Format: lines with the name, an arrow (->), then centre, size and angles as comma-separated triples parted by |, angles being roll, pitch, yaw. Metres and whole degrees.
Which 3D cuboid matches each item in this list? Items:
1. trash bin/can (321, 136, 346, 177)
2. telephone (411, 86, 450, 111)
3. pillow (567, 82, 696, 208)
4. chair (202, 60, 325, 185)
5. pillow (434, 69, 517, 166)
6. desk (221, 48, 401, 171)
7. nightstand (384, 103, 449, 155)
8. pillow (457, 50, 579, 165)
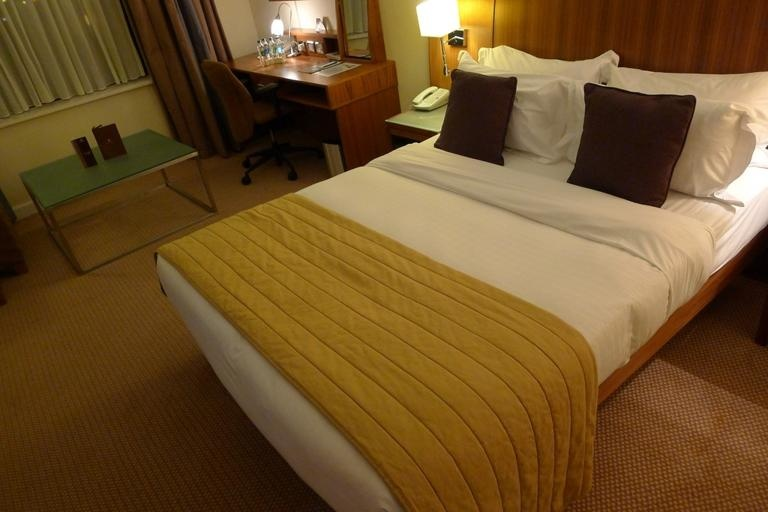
trash bin/can -> -0.556, -0.928, 4.843 | 0.304, 0.294, 0.162 | -4, 18, -24
telephone -> 0.409, -1.364, 4.399 | 0.209, 0.107, 0.269 | 22, 43, 37
pillow -> 1.447, -0.620, 2.932 | 0.295, 0.521, 0.581 | -34, 41, -30
chair -> -1.231, -1.343, 5.117 | 0.813, 1.160, 0.876 | -36, 54, -23
pillow -> 0.654, -0.914, 3.517 | 0.615, 0.600, 0.187 | 21, 15, 37
desk -> -0.589, -1.622, 5.347 | 0.797, 0.836, 1.637 | -26, 36, -24
nightstand -> 0.311, -1.020, 4.356 | 0.415, 0.413, 0.435 | 18, 55, 27
pillow -> 0.917, -0.974, 3.456 | 0.753, 0.510, 0.244 | 29, 4, 36
